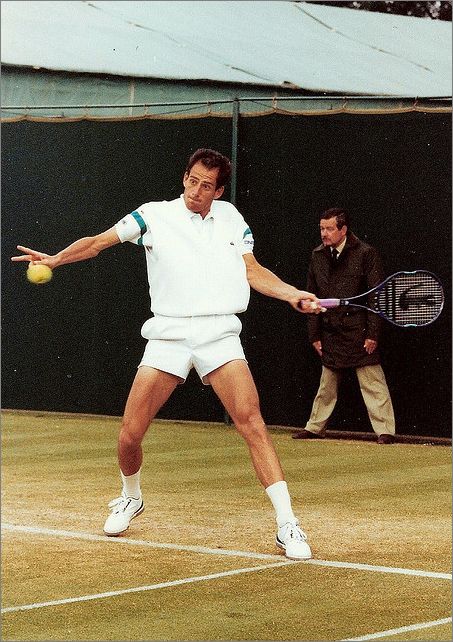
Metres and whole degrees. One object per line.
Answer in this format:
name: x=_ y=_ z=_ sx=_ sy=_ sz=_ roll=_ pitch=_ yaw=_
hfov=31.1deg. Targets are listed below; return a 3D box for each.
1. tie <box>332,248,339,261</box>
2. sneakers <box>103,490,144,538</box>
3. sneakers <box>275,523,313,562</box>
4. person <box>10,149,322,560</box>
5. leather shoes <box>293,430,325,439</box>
tie: x=1.006 y=-0.601 z=7.343 sx=0.075 sy=0.092 sz=0.025 roll=0 pitch=4 yaw=19
sneakers: x=-0.480 y=0.883 z=3.856 sx=0.114 sy=0.113 sz=0.260 roll=17 pitch=42 yaw=21
sneakers: x=0.284 y=0.904 z=3.338 sx=0.084 sy=0.088 sz=0.209 roll=0 pitch=-3 yaw=-17
person: x=-0.105 y=0.145 z=3.608 sx=1.135 sy=1.756 sz=0.688 roll=6 pitch=17 yaw=25
leather shoes: x=0.802 y=1.077 z=7.682 sx=0.318 sy=0.110 sz=0.100 roll=-2 pitch=0 yaw=5
